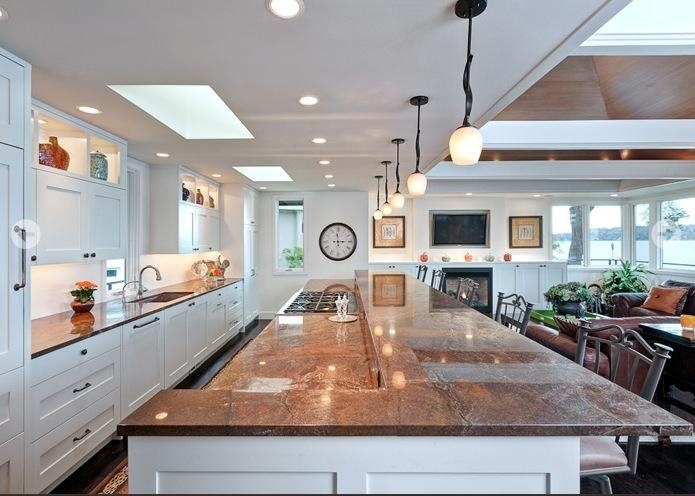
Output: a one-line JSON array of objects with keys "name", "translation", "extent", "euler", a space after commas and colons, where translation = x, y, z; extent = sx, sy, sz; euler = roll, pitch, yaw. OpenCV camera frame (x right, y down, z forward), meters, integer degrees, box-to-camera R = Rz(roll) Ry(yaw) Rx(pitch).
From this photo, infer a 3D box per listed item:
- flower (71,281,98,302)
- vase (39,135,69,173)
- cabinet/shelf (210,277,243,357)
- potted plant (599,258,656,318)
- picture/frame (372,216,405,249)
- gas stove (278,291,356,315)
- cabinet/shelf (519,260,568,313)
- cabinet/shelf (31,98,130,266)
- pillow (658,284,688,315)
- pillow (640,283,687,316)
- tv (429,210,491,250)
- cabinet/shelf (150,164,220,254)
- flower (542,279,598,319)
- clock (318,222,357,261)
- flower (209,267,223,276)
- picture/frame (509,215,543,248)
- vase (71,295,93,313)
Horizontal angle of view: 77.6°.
[{"name": "flower", "translation": [-2.438, 0.401, 4.019], "extent": [0.221, 0.088, 0.203], "euler": [5, 3, 9]}, {"name": "vase", "translation": [-2.471, -0.790, 3.556], "extent": [0.158, 0.224, 0.276], "euler": [9, 6, 16]}, {"name": "cabinet/shelf", "translation": [-1.679, 0.961, 5.954], "extent": [0.405, 0.638, 1.058], "euler": [0, 2, -2]}, {"name": "potted plant", "translation": [5.522, 0.704, 8.601], "extent": [0.744, 0.744, 0.589], "euler": [-6, 24, -10]}, {"name": "picture/frame", "translation": [0.835, -0.312, 9.055], "extent": [0.765, 0.665, 0.052], "euler": [1, -1, -4]}, {"name": "gas stove", "translation": [-0.267, 0.596, 4.844], "extent": [0.762, 0.081, 1.256], "euler": [5, 6, 2]}, {"name": "cabinet/shelf", "translation": [3.818, 0.832, 8.829], "extent": [1.214, 1.064, 0.492], "euler": [1, 0, -16]}, {"name": "cabinet/shelf", "translation": [-2.556, -0.455, 3.879], "extent": [0.506, 1.185, 1.278], "euler": [1, 1, 2]}, {"name": "pillow", "translation": [4.975, 0.789, 6.558], "extent": [0.133, 0.379, 0.421], "euler": [16, -3, -17]}, {"name": "pillow", "translation": [4.876, 0.795, 6.614], "extent": [0.144, 0.410, 0.455], "euler": [32, -4, -19]}, {"name": "tv", "translation": [2.370, -0.369, 9.091], "extent": [1.300, 0.688, 0.122], "euler": [3, 4, 44]}, {"name": "cabinet/shelf", "translation": [-2.237, -0.446, 6.066], "extent": [0.415, 1.026, 1.477], "euler": [2, 1, 2]}, {"name": "flower", "translation": [2.745, 0.648, 5.430], "extent": [0.522, 0.369, 0.490], "euler": [2, -9, -15]}, {"name": "clock", "translation": [-0.172, -0.089, 7.721], "extent": [0.782, 0.697, 0.067], "euler": [0, 2, -32]}, {"name": "flower", "translation": [-1.887, 0.352, 6.194], "extent": [0.122, 0.071, 0.145], "euler": [2, 4, -27]}, {"name": "picture/frame", "translation": [3.792, -0.308, 9.129], "extent": [0.758, 0.672, 0.076], "euler": [1, 1, 3]}, {"name": "vase", "translation": [-2.413, 0.507, 3.928], "extent": [0.159, 0.094, 0.150], "euler": [2, -11, -17]}]
